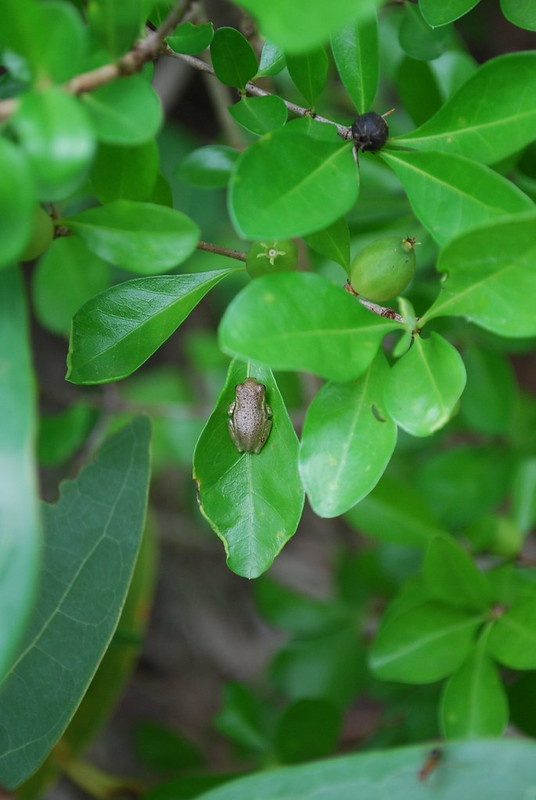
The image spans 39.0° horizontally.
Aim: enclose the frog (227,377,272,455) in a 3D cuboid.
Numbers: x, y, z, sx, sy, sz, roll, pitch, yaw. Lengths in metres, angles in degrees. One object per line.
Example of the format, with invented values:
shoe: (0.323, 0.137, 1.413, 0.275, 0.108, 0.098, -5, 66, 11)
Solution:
frog: (-0.018, 0.014, 0.644, 0.041, 0.056, 0.022, 3, -13, 6)
